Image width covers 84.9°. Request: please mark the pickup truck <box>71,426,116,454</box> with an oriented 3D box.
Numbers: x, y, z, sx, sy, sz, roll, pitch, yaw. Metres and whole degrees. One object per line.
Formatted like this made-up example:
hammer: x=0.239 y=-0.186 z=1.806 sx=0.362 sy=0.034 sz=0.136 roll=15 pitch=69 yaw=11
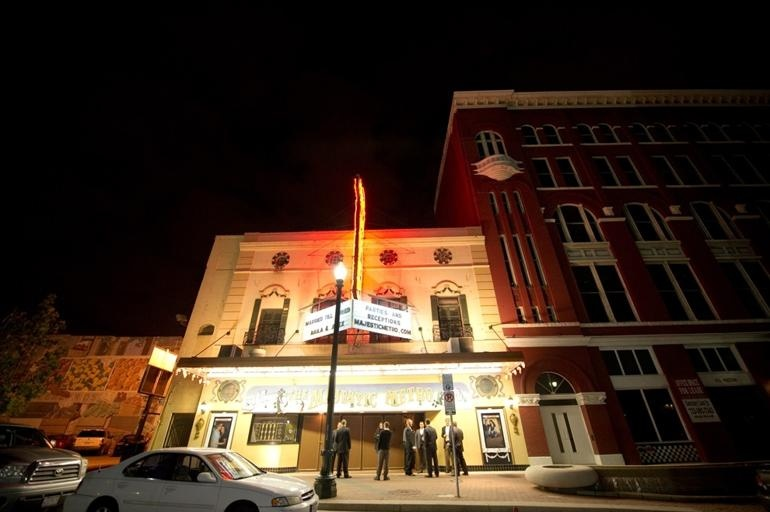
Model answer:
pickup truck: x=-23.117 y=14.667 z=33.756 sx=2.051 sy=1.449 sz=3.189 roll=2 pitch=-10 yaw=-9
